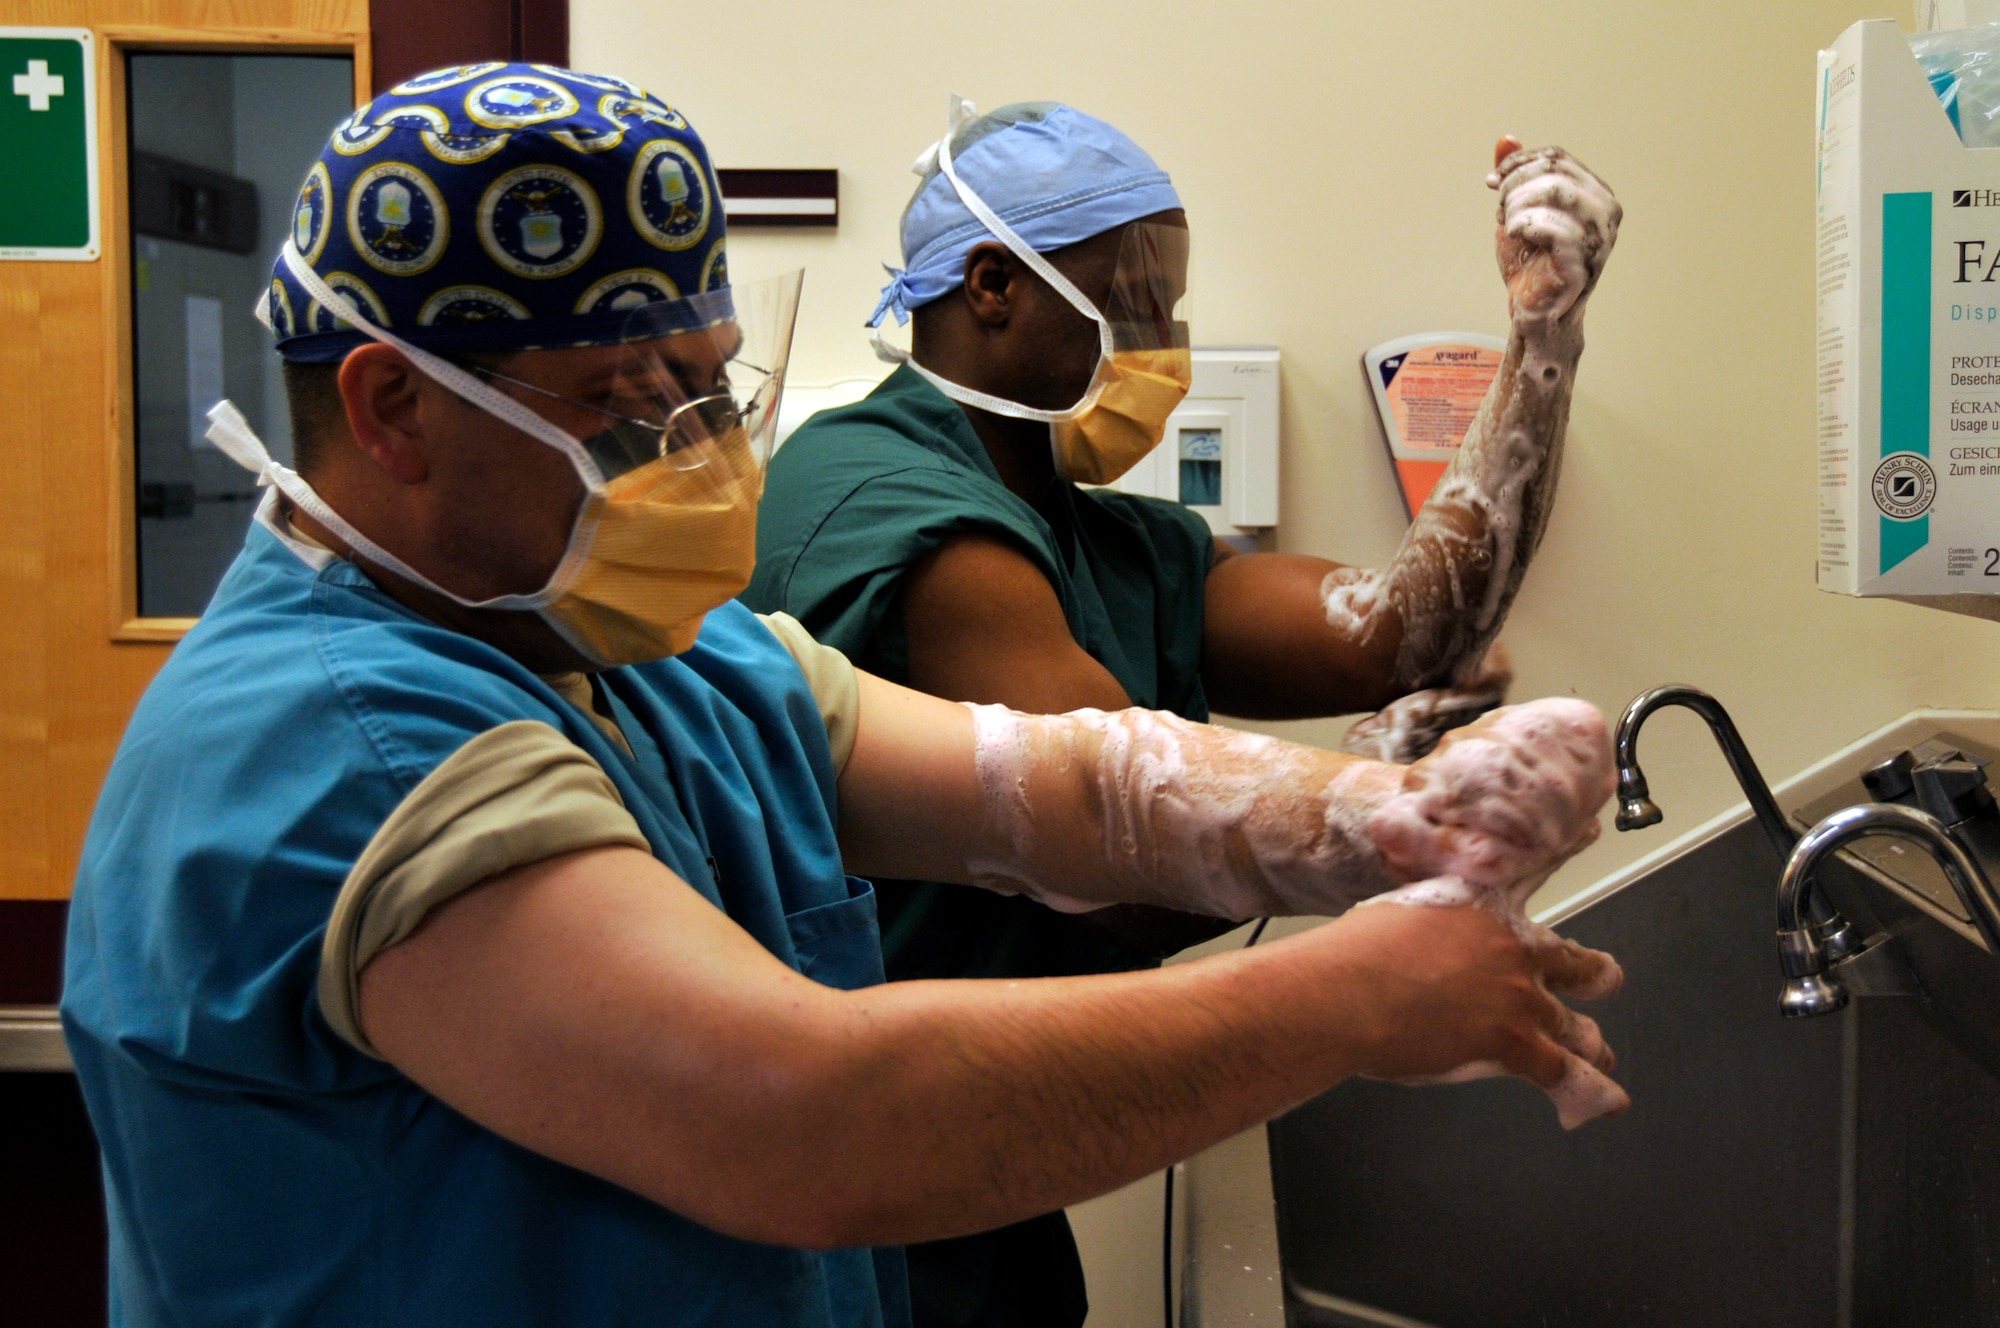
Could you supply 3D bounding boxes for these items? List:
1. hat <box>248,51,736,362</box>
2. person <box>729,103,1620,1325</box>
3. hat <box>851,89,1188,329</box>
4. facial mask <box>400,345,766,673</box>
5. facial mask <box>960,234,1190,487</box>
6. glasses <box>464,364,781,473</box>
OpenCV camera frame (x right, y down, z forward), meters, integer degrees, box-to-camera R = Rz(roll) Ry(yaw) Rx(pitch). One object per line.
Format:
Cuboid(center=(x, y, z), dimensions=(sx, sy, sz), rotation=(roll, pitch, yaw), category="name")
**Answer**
Cuboid(center=(-0.387, -0.343, 1.336), dimensions=(0.241, 0.163, 0.262), rotation=(-1, 13, -2), category="hat")
Cuboid(center=(0.164, -0.076, 2.867), dimensions=(1.221, 2.446, 0.983), rotation=(-1, 1, 5), category="person")
Cuboid(center=(0.022, -0.502, 1.955), dimensions=(0.260, 0.220, 0.212), rotation=(-6, 7, 6), category="hat")
Cuboid(center=(-0.321, -0.098, 1.398), dimensions=(0.234, 0.180, 0.230), rotation=(16, 16, -6), category="facial mask")
Cuboid(center=(0.089, -0.342, 1.908), dimensions=(0.237, 0.175, 0.222), rotation=(9, 10, 0), category="facial mask")
Cuboid(center=(-0.296, -0.196, 1.382), dimensions=(0.125, 0.043, 0.128), rotation=(19, 14, 10), category="glasses")
